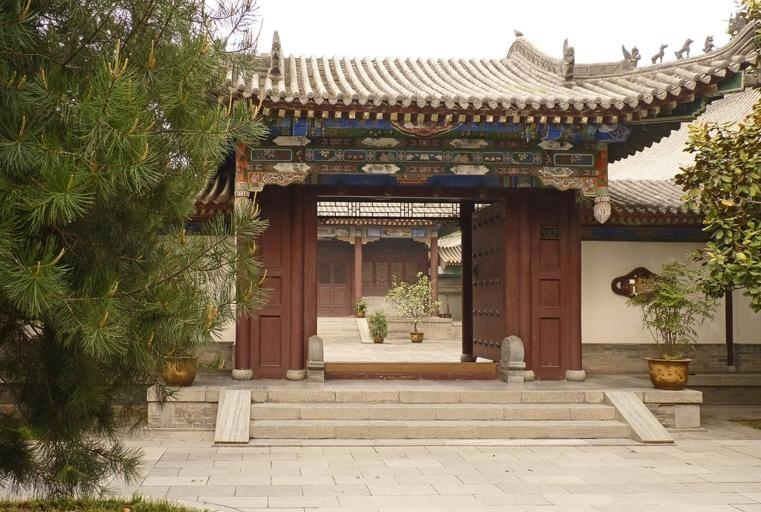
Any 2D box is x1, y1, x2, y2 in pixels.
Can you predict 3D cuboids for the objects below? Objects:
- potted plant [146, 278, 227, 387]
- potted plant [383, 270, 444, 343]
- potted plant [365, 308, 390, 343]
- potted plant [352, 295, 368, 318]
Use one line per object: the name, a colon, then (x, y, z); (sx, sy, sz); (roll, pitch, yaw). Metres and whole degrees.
potted plant: (-1.768, 0.874, 7.419); (0.381, 0.555, 0.485); (-12, -15, 34)
potted plant: (0.977, 1.408, 21.923); (1.384, 1.704, 1.165); (18, -28, -37)
potted plant: (-0.066, 1.871, 21.607); (0.539, 0.717, 0.482); (-1, -4, -13)
potted plant: (-0.586, 1.501, 24.479); (0.642, 0.576, 0.486); (0, -15, 2)
